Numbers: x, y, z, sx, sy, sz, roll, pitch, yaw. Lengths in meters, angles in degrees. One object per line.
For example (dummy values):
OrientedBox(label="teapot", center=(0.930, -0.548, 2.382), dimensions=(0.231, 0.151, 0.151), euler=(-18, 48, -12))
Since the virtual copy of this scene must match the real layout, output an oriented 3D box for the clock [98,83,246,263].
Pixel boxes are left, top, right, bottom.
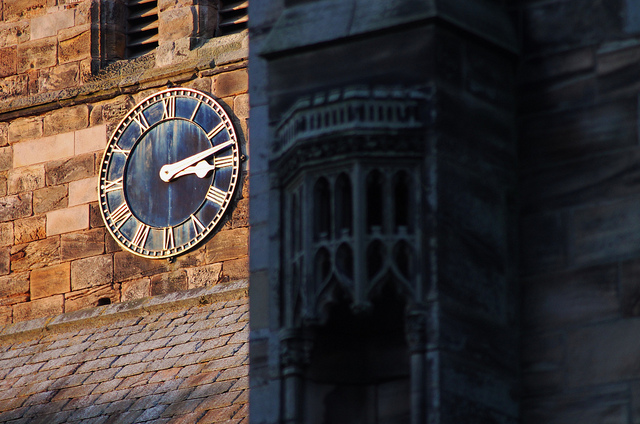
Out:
OrientedBox(label="clock", center=(-1.400, -0.317, 24.985), dimensions=(2.231, 1.793, 0.167), euler=(-3, -28, 26))
